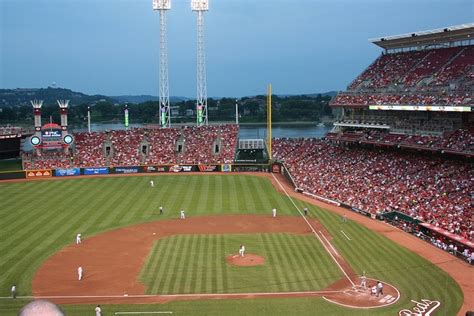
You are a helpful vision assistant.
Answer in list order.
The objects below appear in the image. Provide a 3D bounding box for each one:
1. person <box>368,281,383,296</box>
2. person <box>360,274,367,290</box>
[{"bbox_3d":[13.332,12.200,45.439,1.017,1.219,1.622,6,15,22],"label":"person"},{"bbox_3d":[12.246,11.695,46.374,0.508,1.266,1.403,3,15,15],"label":"person"}]
